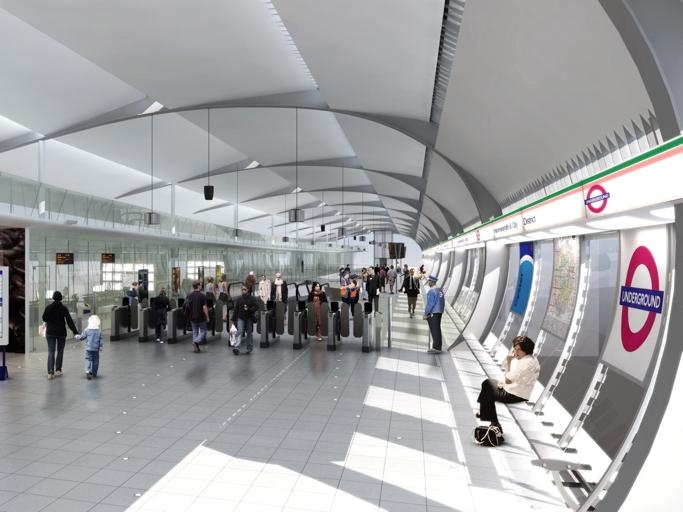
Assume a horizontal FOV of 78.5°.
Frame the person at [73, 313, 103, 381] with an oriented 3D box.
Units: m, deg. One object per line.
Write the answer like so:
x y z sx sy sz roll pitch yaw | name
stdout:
-5.672 2.030 9.378 0.422 1.421 0.729 -1 -2 -30 | person

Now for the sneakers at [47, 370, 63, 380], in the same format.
-6.566 2.712 9.495 0.130 0.159 0.363 2 -10 -19 | sneakers

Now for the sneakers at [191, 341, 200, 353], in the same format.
-4.141 2.548 11.884 0.173 0.370 0.162 2 12 25 | sneakers

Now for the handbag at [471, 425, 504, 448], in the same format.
2.131 2.594 6.005 0.312 0.162 0.324 0 -4 18 | handbag

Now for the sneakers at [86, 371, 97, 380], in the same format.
-5.685 2.709 9.444 0.103 0.153 0.349 2 12 -4 | sneakers

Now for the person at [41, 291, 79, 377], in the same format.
-6.515 1.778 9.574 0.587 1.923 1.308 -1 -2 -34 | person

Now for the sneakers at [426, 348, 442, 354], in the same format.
2.638 2.685 11.753 0.265 0.110 0.158 4 -11 10 | sneakers

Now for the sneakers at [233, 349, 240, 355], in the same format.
-2.965 2.669 11.625 0.078 0.100 0.238 1 -38 -2 | sneakers
